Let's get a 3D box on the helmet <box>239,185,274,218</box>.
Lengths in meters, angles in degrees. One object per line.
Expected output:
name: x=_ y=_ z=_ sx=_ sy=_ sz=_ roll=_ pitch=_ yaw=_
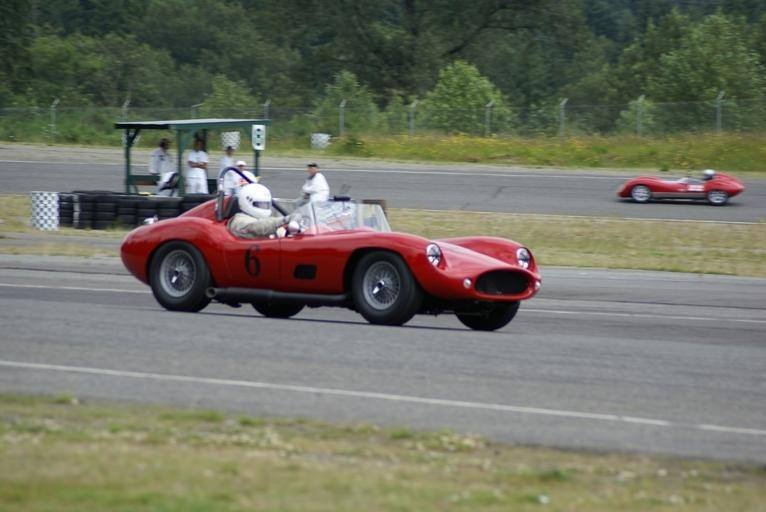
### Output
helmet: x=-1.725 y=-0.736 z=12.069 sx=0.518 sy=0.392 sz=0.411 roll=11 pitch=13 yaw=15

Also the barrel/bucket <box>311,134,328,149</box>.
barrel/bucket: x=-2.856 y=-5.256 z=41.142 sx=0.890 sy=0.609 sz=1.665 roll=0 pitch=11 yaw=-13

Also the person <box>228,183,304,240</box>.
person: x=-1.543 y=-0.565 z=12.028 sx=1.198 sy=0.718 sz=0.903 roll=11 pitch=12 yaw=24

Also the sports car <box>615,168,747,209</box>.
sports car: x=8.767 y=-1.937 z=26.081 sx=2.937 sy=0.774 sz=1.362 roll=2 pitch=2 yaw=11
